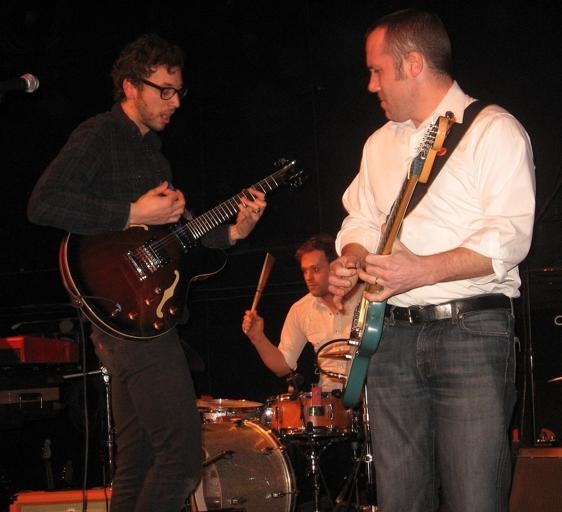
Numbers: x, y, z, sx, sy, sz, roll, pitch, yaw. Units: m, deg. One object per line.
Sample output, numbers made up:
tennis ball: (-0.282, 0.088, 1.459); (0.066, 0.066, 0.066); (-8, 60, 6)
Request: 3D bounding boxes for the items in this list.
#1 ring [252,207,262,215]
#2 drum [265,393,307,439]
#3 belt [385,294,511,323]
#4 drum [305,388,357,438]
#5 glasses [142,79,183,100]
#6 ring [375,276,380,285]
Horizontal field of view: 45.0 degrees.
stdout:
ring: (-0.130, -0.247, 3.749); (0.035, 0.026, 0.036); (0, 4, 0)
drum: (0.042, 1.017, 4.350); (0.248, 0.306, 0.268); (8, -17, -39)
belt: (0.646, 0.204, 2.596); (0.233, 0.065, 0.192); (-1, -17, -14)
drum: (0.299, 1.007, 4.341); (0.408, 0.296, 0.411); (1, -16, 0)
glasses: (-0.588, -0.824, 3.363); (0.124, 0.035, 0.122); (20, 16, 27)
ring: (0.367, 0.094, 2.572); (0.007, 0.027, 0.018); (-27, -51, 35)
